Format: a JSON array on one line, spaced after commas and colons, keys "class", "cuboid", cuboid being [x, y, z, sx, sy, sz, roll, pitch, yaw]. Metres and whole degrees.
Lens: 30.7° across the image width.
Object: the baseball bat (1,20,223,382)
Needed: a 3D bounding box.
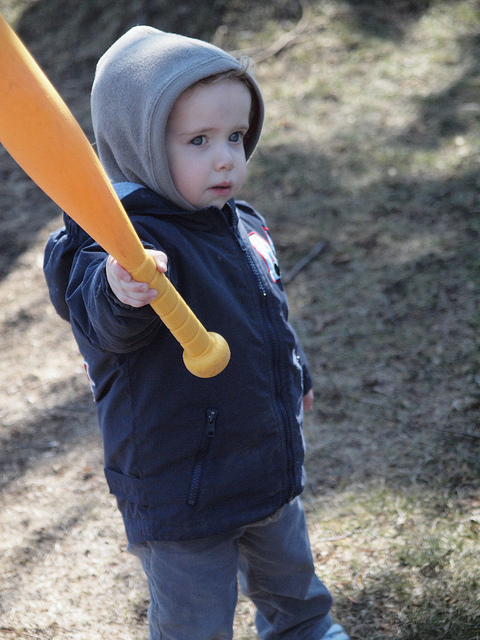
[{"class": "baseball bat", "cuboid": [-0.278, -0.204, 1.773, 0.163, 0.841, 0.098, -33, 27, -6]}]
